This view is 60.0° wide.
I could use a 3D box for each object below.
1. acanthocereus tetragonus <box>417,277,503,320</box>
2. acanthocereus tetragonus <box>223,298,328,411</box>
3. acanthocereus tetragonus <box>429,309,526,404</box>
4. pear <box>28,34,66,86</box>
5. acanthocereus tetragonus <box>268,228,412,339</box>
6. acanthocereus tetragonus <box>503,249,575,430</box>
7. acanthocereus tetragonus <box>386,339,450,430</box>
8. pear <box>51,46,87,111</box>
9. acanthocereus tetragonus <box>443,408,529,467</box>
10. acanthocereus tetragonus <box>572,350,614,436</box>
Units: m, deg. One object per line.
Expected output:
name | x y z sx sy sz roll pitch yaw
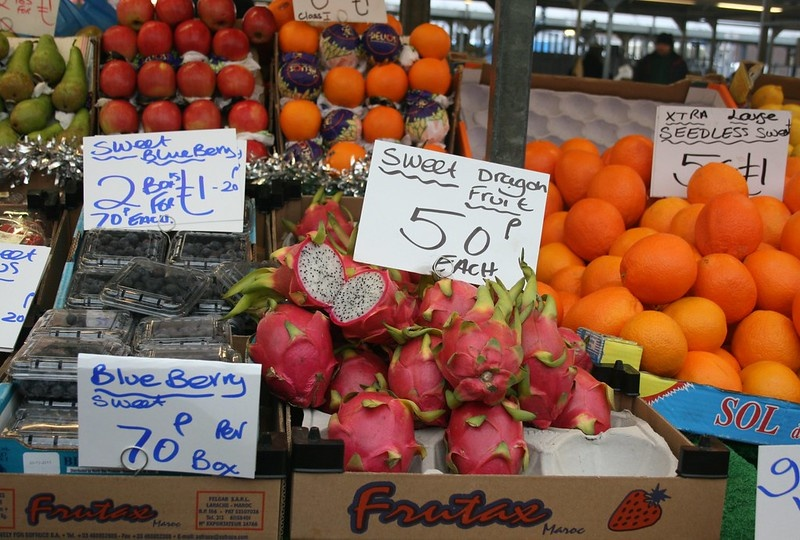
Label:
acanthocereus tetragonus | 0.172 0.084 1.913 0.254 0.150 0.193 -7 -6 -2
acanthocereus tetragonus | -0.298 0.208 1.876 0.233 0.236 0.197 -9 -8 40
acanthocereus tetragonus | 0.184 0.193 1.763 0.203 0.219 0.205 -3 6 -21
pear | -1.760 -1.057 3.476 0.154 0.276 0.160 -6 -14 -2
acanthocereus tetragonus | -0.182 0.052 1.896 0.389 0.205 0.237 26 35 4
acanthocereus tetragonus | 0.380 0.193 1.856 0.163 0.442 0.168 -1 -19 23
acanthocereus tetragonus | 0.046 0.275 1.813 0.127 0.216 0.156 -8 -24 -33
pear | -1.609 -0.932 3.399 0.179 0.311 0.139 -10 20 -37
acanthocereus tetragonus | 0.219 0.421 1.784 0.132 0.195 0.145 -3 -11 -6
acanthocereus tetragonus | 0.511 0.360 1.871 0.120 0.136 0.149 11 19 27
